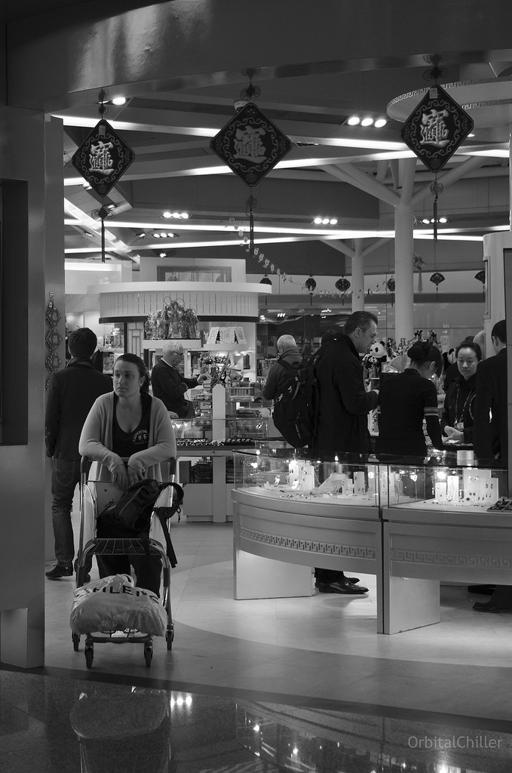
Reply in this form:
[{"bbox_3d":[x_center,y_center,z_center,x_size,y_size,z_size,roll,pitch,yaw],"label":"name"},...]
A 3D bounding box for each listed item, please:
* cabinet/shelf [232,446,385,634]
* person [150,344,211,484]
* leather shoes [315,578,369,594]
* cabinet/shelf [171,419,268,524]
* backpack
[{"bbox_3d":[0.358,0.804,4.747,0.980,0.932,0.589,1,5,32],"label":"cabinet/shelf"},{"bbox_3d":[-0.938,-0.098,9.471,0.726,1.506,0.638,-4,10,-18],"label":"person"},{"bbox_3d":[0.528,1.250,5.076,0.314,0.157,0.115,-3,1,6],"label":"leather shoes"},{"bbox_3d":[-0.365,0.613,8.317,0.930,1.306,0.795,-1,27,-1],"label":"cabinet/shelf"},{"bbox_3d":[0.435,0.067,5.401,0.587,0.639,0.426,-9,18,-29],"label":"backpack"}]
